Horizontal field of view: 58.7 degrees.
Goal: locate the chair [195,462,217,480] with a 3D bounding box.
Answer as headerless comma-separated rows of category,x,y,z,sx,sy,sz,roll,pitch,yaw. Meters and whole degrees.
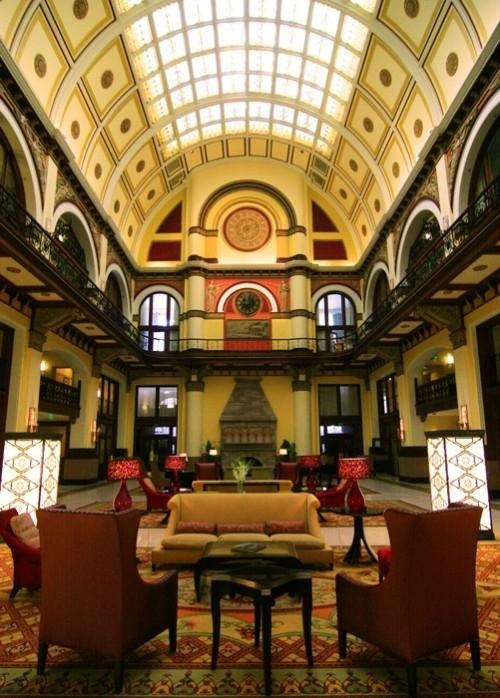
chair,-1.114,3.131,11.321,0.426,0.607,0.451,1,-16,-3

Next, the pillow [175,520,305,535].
pillow,-0.107,2.028,4.986,1.493,0.146,0.543,0,-11,3

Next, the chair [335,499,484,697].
chair,0.936,1.360,2.479,0.789,0.949,0.668,0,-10,2

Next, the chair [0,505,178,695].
chair,-0.835,1.340,2.922,0.804,1.300,0.905,-2,-4,26

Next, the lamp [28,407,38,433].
lamp,-4.872,1.596,9.927,0.127,0.511,0.253,1,-10,-3
